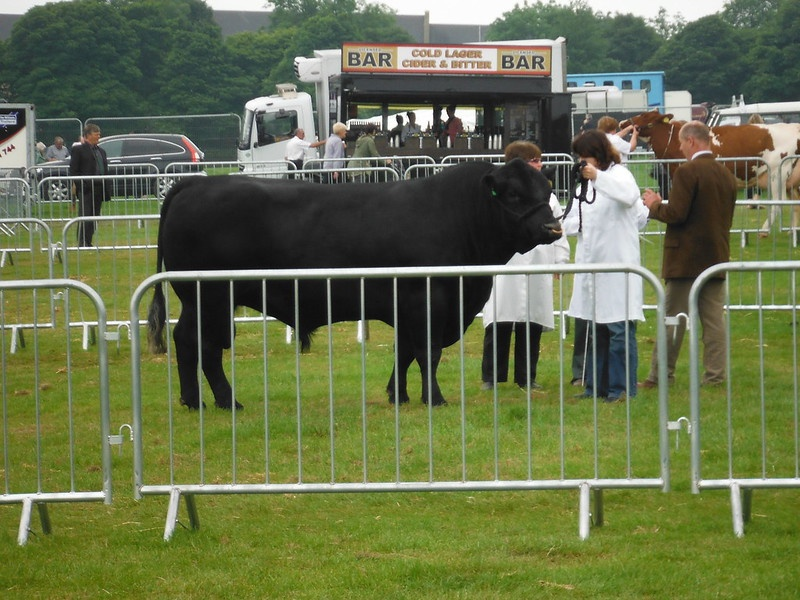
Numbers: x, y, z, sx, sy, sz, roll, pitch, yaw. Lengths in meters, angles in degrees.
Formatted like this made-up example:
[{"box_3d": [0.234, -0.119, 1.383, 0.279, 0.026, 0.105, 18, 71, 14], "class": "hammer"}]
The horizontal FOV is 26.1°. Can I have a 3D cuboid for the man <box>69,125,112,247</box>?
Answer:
[{"box_3d": [-5.538, -2.012, 31.202, 0.688, 2.275, 0.797, 2, 3, 37], "class": "man"}]

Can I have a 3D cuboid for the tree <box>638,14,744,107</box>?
[{"box_3d": [16.374, -12.808, 92.547, 2.279, 4.648, 5.876, -4, 4, -27], "class": "tree"}]

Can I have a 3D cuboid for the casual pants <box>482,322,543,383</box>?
[{"box_3d": [1.536, 0.718, 23.714, 0.925, 1.243, 0.440, 2, -6, -6], "class": "casual pants"}]

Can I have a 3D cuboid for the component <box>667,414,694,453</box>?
[{"box_3d": [3.473, 1.648, 21.438, 0.294, 0.509, 0.884, -2, 4, 8], "class": "component"}]
